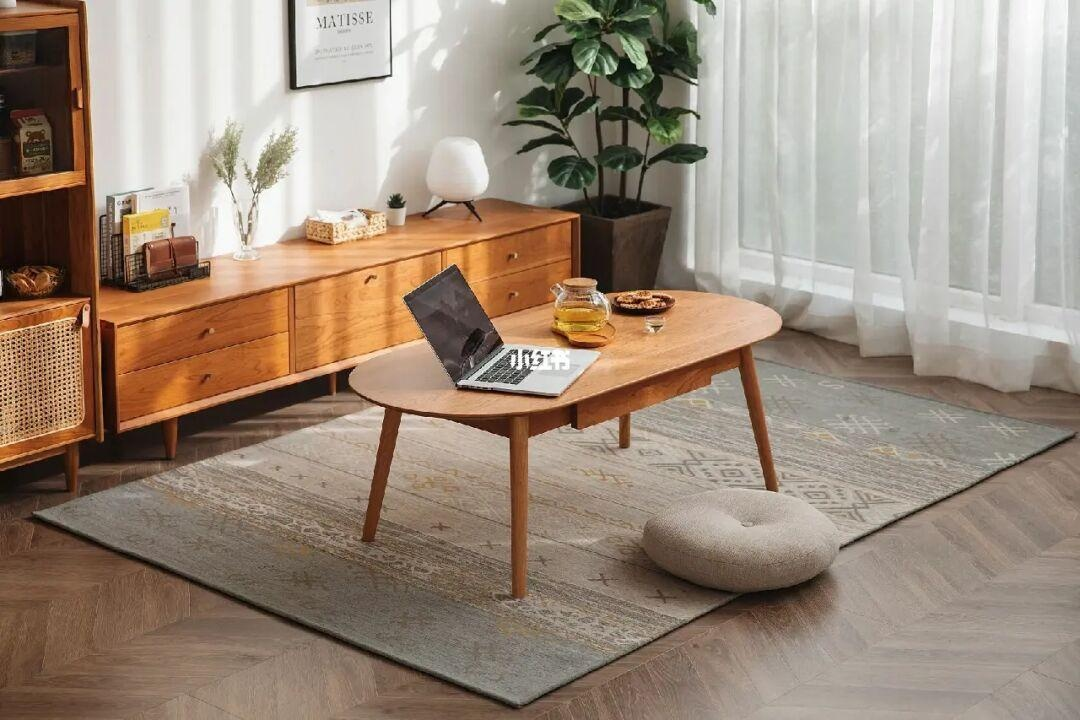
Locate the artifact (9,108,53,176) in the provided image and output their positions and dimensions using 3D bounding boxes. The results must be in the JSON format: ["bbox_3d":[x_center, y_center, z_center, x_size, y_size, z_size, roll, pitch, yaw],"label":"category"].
[{"bbox_3d":[-1.887,-0.813,3.322,0.123,0.230,0.167,-7,26,-16],"label":"artifact"}]

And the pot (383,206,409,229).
[{"bbox_3d":[-0.784,-0.773,4.856,0.151,0.076,0.126,-9,21,-29],"label":"pot"}]

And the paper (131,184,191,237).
[{"bbox_3d":[-1.701,-0.664,3.976,0.111,0.207,0.307,12,21,38],"label":"paper"}]

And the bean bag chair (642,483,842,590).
[{"bbox_3d":[0.713,0.628,3.127,0.542,0.208,0.504,-16,26,-39],"label":"bean bag chair"}]

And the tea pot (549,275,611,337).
[{"bbox_3d":[0.159,-0.216,3.420,0.339,0.149,0.184,0,18,4],"label":"tea pot"}]

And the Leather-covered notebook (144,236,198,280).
[{"bbox_3d":[-1.652,-0.456,3.953,0.074,0.121,0.252,19,26,41],"label":"Leather-covered notebook"}]

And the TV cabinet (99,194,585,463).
[{"bbox_3d":[-0.966,-0.112,3.869,1.817,0.419,0.441,-17,30,-39],"label":"TV cabinet"}]

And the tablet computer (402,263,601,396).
[{"bbox_3d":[-0.119,-0.112,3.047,0.593,0.326,0.494,6,22,14],"label":"tablet computer"}]

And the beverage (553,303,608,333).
[{"bbox_3d":[0.151,-0.159,3.368,0.185,0.045,0.117,-4,14,-20],"label":"beverage"}]
